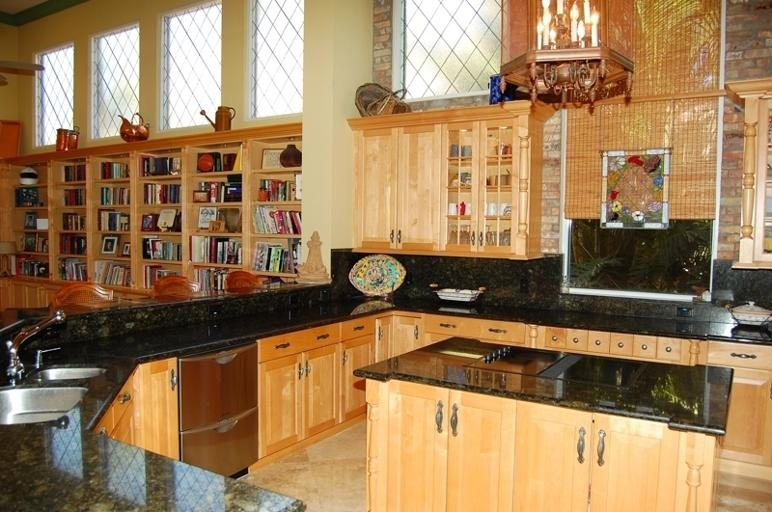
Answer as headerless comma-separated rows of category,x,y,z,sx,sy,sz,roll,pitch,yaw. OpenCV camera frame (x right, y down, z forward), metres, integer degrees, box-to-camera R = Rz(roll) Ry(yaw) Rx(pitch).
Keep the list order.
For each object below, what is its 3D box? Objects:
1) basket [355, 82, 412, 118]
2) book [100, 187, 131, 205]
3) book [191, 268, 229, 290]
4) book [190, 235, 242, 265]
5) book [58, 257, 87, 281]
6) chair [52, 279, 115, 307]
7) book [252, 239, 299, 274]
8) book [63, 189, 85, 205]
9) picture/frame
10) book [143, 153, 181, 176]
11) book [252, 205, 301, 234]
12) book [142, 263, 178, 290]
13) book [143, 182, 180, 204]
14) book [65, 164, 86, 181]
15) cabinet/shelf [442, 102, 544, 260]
basket,-0.014,-1.742,6.610,0.542,0.174,0.403,-4,32,-6
book,-3.908,-0.889,8.669,0.325,0.383,0.424,1,-2,-45
book,-2.179,0.283,7.506,0.317,0.289,0.225,1,1,30
book,-2.168,-0.087,7.690,0.808,0.366,0.182,1,4,35
book,-4.796,0.208,9.197,0.511,0.457,0.356,0,-4,-20
chair,-3.106,0.380,6.227,0.318,0.381,0.283,-5,10,-40
book,-1.321,0.015,7.224,0.434,0.244,0.152,4,4,30
book,-4.766,-0.926,9.193,0.294,0.249,0.160,-1,-1,32
picture/frame,2.495,-0.694,5.882,0.904,0.989,0.086,1,2,26
book,-3.041,-1.274,8.192,0.480,0.339,0.478,-4,-4,0
book,-1.264,-0.449,7.166,0.672,0.366,0.186,1,4,32
book,-3.167,0.239,8.239,0.617,0.252,0.443,0,1,7
book,-3.059,-0.875,8.193,0.717,0.309,0.100,1,4,35
book,-4.737,-1.297,9.156,0.306,0.255,0.166,-2,-3,30
cabinet/shelf,1.122,-0.768,6.159,0.926,1.507,0.432,1,4,27
